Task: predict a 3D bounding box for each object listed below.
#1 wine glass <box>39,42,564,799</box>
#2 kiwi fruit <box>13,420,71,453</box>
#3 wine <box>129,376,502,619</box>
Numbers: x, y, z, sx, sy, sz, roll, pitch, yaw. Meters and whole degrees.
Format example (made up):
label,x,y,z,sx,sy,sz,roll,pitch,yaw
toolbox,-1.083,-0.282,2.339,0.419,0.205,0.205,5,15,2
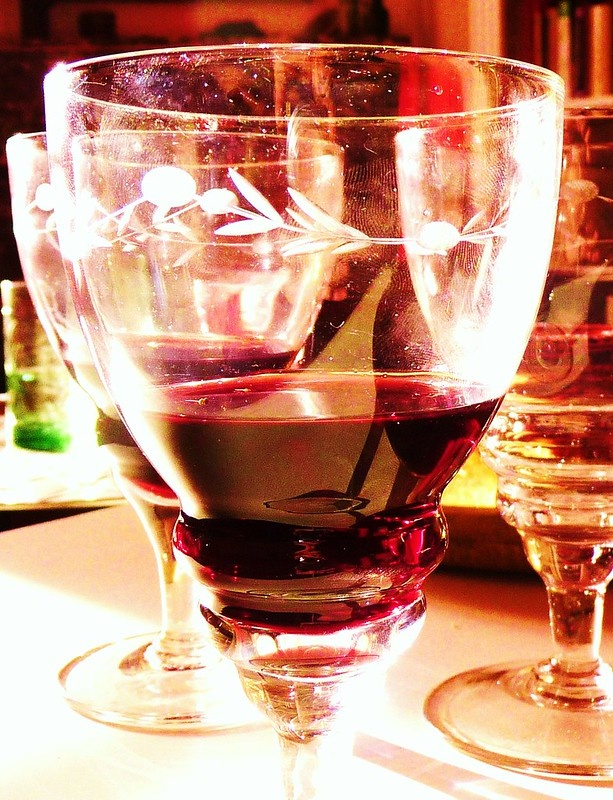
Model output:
label,x,y,z,sx,sy,sz,roll,pitch,yaw
wine glass,0.004,0.012,0.200,0.118,0.176,0.083,-2,4,-17
kiwi fruit,-0.193,0.027,0.632,0.027,0.013,0.035,8,-2,0
wine,0.001,0.027,0.201,0.086,0.047,0.077,-1,-6,8
